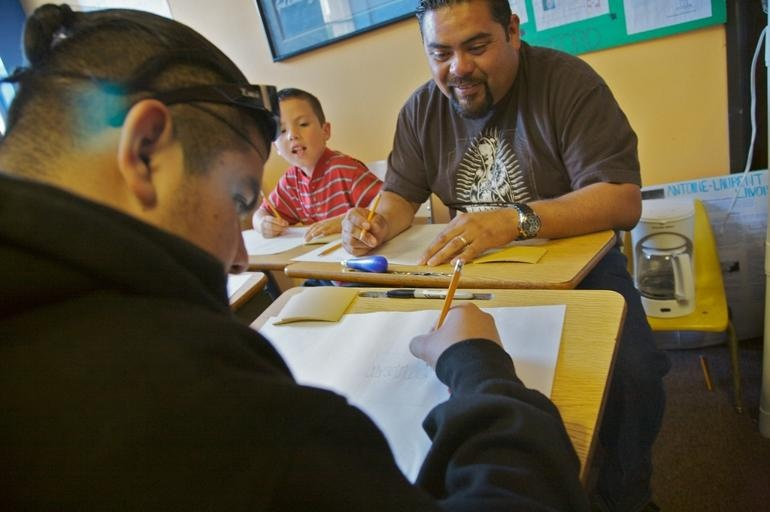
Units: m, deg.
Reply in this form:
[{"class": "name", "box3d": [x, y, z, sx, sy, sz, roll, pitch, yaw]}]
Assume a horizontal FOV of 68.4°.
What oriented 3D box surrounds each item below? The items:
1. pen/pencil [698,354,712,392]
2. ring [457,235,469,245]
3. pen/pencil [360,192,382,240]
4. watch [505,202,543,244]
[{"class": "pen/pencil", "box3d": [1.147, 0.421, 2.026, 0.016, 0.016, 0.160, 32, 32, 3]}, {"class": "ring", "box3d": [0.193, -0.043, 1.407, 0.008, 0.024, 0.021, -34, 9, -1]}, {"class": "pen/pencil", "box3d": [-0.038, -0.144, 1.730, 0.024, 0.026, 0.241, -4, 47, 23]}, {"class": "watch", "box3d": [0.363, -0.092, 1.488, 0.058, 0.095, 0.088, -20, 0, -22]}]
